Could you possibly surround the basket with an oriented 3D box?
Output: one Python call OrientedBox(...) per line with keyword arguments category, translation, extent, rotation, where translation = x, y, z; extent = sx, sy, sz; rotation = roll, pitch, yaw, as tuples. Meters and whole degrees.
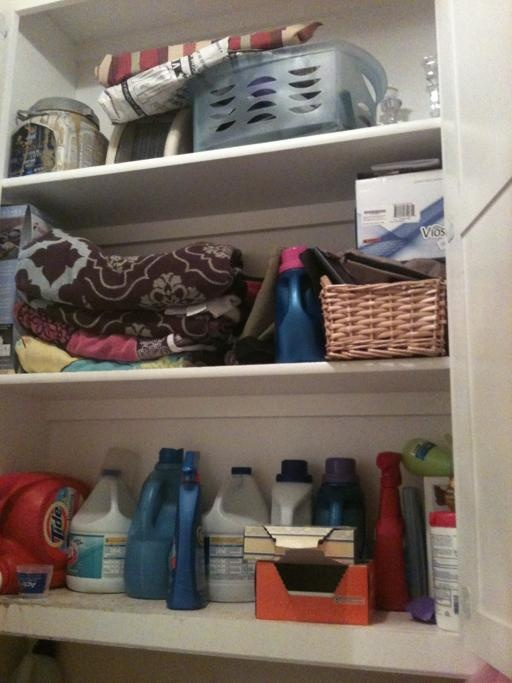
OrientedBox(category="basket", translation=(0.194, -0.030, 0.906), extent=(0.166, 0.106, 0.120), rotation=(-3, -3, 13))
